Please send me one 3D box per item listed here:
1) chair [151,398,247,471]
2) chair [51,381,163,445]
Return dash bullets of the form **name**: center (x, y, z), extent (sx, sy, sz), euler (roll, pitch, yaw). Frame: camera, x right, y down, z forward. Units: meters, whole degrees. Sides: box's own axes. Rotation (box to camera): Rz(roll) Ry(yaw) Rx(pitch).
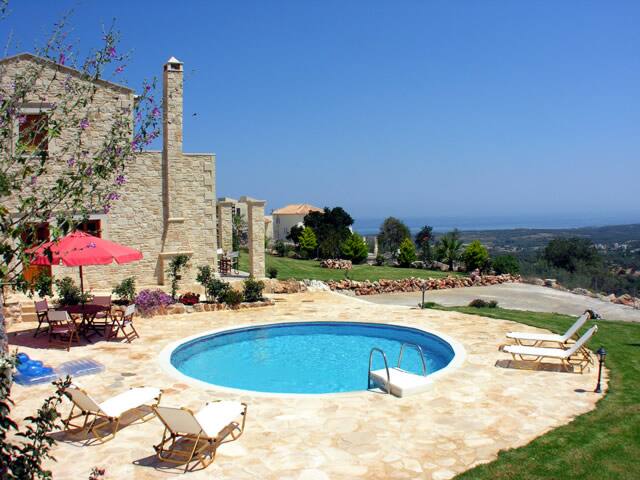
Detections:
- **chair**: center (-2.196, 3.516, 8.992), extent (0.955, 0.822, 1.947), euler (3, 5, 20)
- **chair**: center (-4.315, 3.238, 9.410), extent (1.467, 1.196, 1.650), euler (5, 6, 31)
